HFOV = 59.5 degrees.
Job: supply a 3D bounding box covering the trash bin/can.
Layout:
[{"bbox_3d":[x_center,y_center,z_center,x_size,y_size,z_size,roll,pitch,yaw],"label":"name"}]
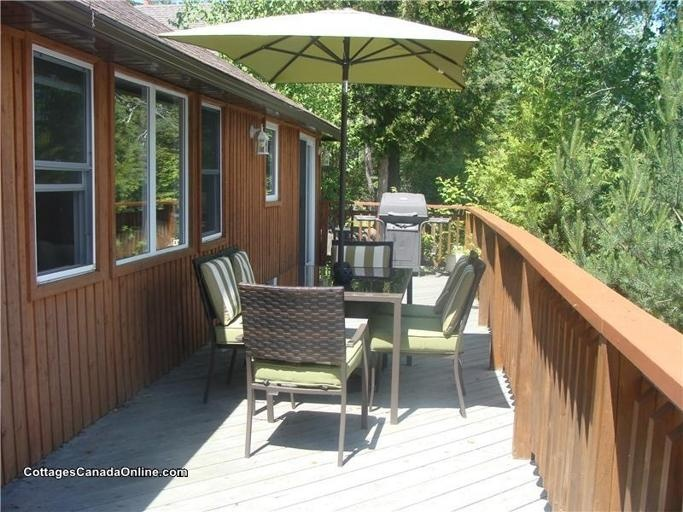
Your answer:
[{"bbox_3d":[1.136,-0.582,11.013,0.983,1.891,1.396,0,1,3],"label":"trash bin/can"}]
